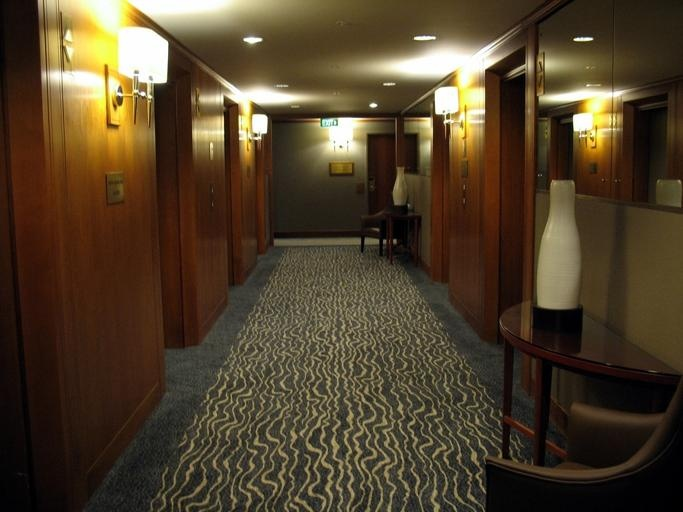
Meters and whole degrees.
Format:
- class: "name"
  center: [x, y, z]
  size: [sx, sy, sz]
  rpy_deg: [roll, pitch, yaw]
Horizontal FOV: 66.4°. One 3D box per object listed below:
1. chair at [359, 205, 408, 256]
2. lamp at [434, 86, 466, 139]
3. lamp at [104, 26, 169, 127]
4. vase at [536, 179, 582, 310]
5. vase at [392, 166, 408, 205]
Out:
- class: "chair"
  center: [0.767, -0.550, 9.895]
  size: [0.707, 1.092, 0.779]
  rpy_deg: [2, 6, -11]
- class: "lamp"
  center: [1.334, -1.698, 6.269]
  size: [0.329, 0.673, 0.314]
  rpy_deg: [1, 13, 21]
- class: "lamp"
  center: [-1.362, -1.166, 3.440]
  size: [0.282, 0.628, 0.303]
  rpy_deg: [5, 5, -6]
- class: "vase"
  center: [1.141, -0.063, 2.709]
  size: [0.223, 0.655, 0.161]
  rpy_deg: [-2, 8, -9]
- class: "vase"
  center: [1.035, -1.266, 9.357]
  size: [0.249, 0.688, 0.514]
  rpy_deg: [0, 9, 5]
